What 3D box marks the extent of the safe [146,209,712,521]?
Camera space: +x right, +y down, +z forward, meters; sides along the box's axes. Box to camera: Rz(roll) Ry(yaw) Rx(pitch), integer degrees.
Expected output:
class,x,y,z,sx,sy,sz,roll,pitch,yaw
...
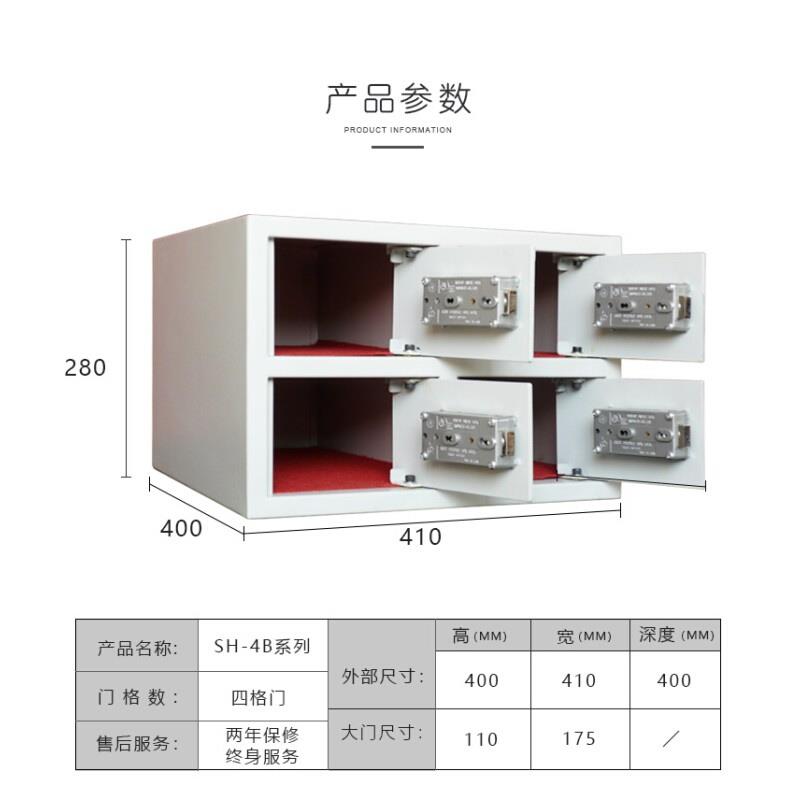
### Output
class,x,y,z,sx,sy,sz,roll,pitch,yaw
safe,0.010,-0.216,4.771,2.715,1.526,2.239,7,5,37
